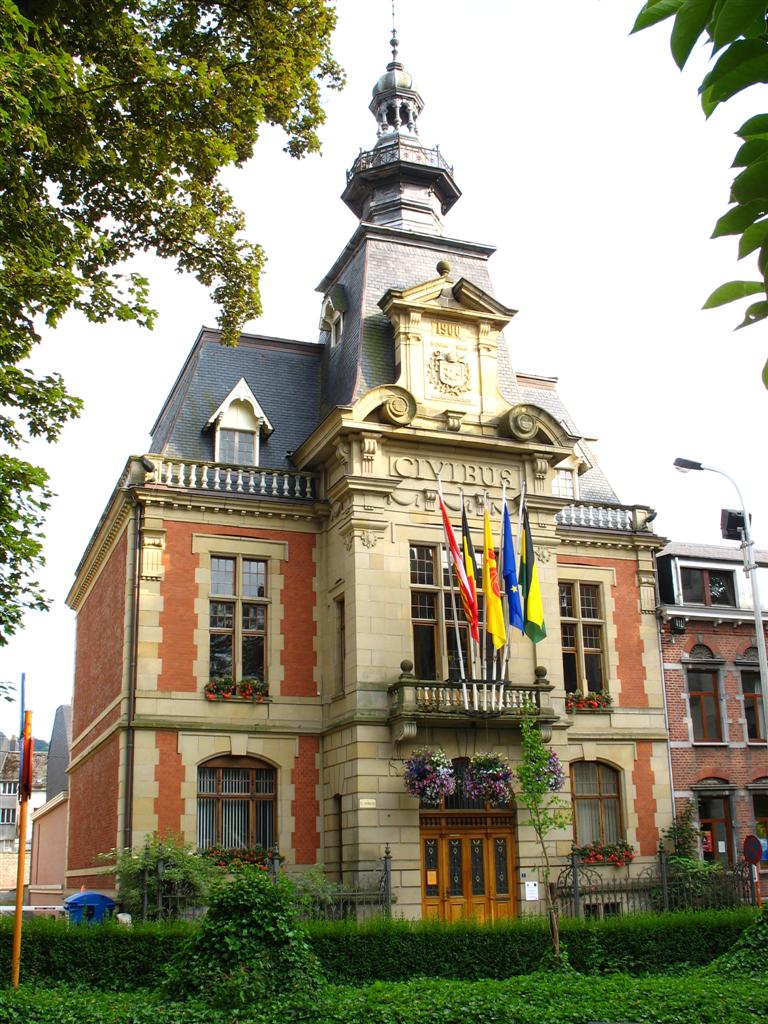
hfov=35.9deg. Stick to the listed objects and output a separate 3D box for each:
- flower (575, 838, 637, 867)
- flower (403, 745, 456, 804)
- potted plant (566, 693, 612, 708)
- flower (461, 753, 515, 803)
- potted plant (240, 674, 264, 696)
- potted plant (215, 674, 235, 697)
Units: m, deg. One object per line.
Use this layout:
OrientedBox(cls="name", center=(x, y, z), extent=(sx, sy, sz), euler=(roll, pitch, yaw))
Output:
OrientedBox(cls="flower", center=(4.811, 7.467, 25.776), extent=(1.673, 0.561, 0.521), euler=(13, -25, -38))
OrientedBox(cls="flower", center=(0.882, 4.989, 22.407), extent=(1.167, 0.979, 1.148), euler=(-11, -15, 1))
OrientedBox(cls="potted plant", center=(4.640, 4.343, 26.989), extent=(0.713, 0.233, 0.474), euler=(4, -10, -9))
OrientedBox(cls="flower", center=(1.988, 5.112, 22.962), extent=(1.151, 1.014, 1.108), euler=(-2, -19, 11))
OrientedBox(cls="potted plant", center=(-2.659, 3.596, 24.192), extent=(0.581, 0.504, 0.195), euler=(15, -27, -40))
OrientedBox(cls="potted plant", center=(-3.198, 3.540, 23.897), extent=(0.404, 0.358, 0.388), euler=(19, -25, -33))
